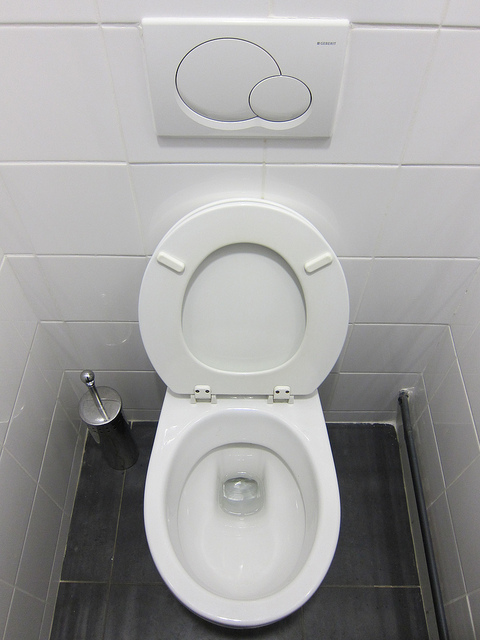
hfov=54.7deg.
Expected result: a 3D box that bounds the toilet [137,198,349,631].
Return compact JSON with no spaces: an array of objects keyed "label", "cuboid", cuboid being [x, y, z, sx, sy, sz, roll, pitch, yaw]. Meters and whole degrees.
[{"label":"toilet","cuboid":[0.005,0.185,0.915,0.303,0.699,0.780,2,70,3]}]
